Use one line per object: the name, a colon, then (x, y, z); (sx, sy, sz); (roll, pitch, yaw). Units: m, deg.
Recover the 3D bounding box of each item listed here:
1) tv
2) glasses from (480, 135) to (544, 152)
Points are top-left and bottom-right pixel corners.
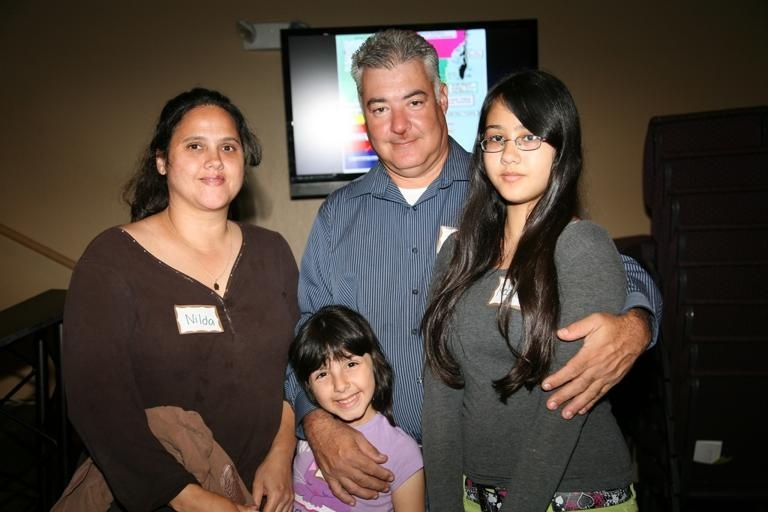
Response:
tv: (0.146, -1.021, 3.871); (1.876, 1.245, 0.080); (-3, 9, 2)
glasses: (0.560, -0.486, 2.539); (0.254, 0.077, 0.069); (3, 13, 27)
